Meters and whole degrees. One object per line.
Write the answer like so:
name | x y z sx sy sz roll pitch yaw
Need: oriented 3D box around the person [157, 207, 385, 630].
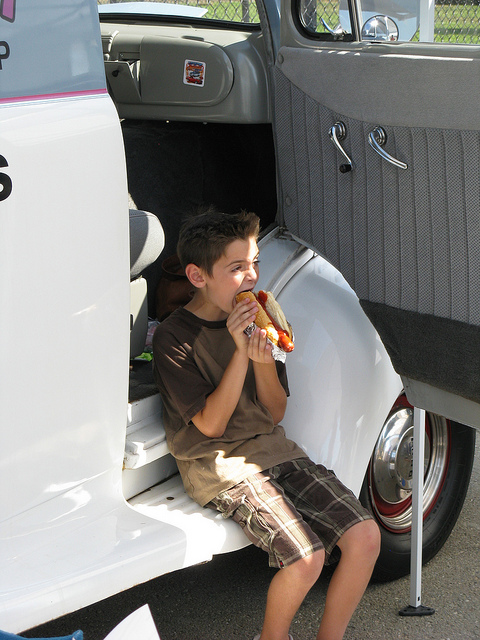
person | 0.065 0.348 1.529 0.438 1.219 0.656 -6 8 -40

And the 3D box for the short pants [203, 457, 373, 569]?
short pants | 0.149 0.548 1.451 0.398 0.272 0.268 -21 29 -35
